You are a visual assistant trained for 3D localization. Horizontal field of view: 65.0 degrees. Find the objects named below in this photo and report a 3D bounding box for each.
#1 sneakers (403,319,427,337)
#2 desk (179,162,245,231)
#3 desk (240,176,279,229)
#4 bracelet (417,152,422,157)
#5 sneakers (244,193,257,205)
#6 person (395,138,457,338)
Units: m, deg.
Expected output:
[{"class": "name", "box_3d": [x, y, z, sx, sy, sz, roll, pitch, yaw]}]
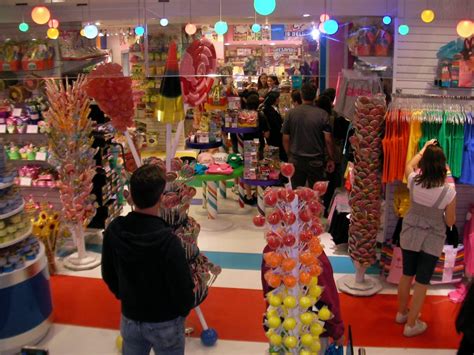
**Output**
[{"class": "sneakers", "box_3d": [1.790, 1.487, 3.724, 0.266, 0.121, 0.115, -8, 9, -31]}, {"class": "desk", "box_3d": [-0.308, 0.312, 6.167, 0.960, 0.905, 0.942, -1, 8, -1]}, {"class": "desk", "box_3d": [0.340, 0.290, 6.112, 0.604, 0.710, 0.635, -1, 16, -1]}, {"class": "bracelet", "box_3d": [1.951, -0.252, 3.980, 0.047, 0.012, 0.048, 2, 36, 40]}, {"class": "sneakers", "box_3d": [0.253, 0.430, 6.991, 0.110, 0.133, 0.318, -1, 1, -20]}, {"class": "person", "box_3d": [1.792, 0.609, 3.652, 0.529, 1.838, 0.414, -13, 18, -39]}]
